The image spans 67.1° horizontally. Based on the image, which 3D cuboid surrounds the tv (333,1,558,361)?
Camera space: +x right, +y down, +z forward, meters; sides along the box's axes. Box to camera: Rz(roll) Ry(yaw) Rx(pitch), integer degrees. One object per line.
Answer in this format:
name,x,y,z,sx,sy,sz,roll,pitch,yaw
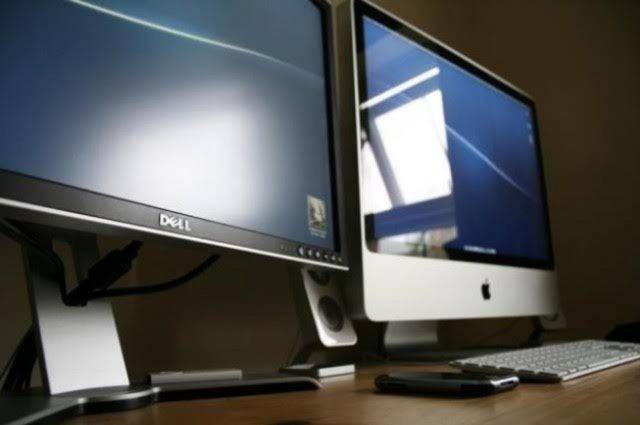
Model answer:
tv,0.358,-0.108,1.311,0.829,0.528,0.275,1,2,-43
